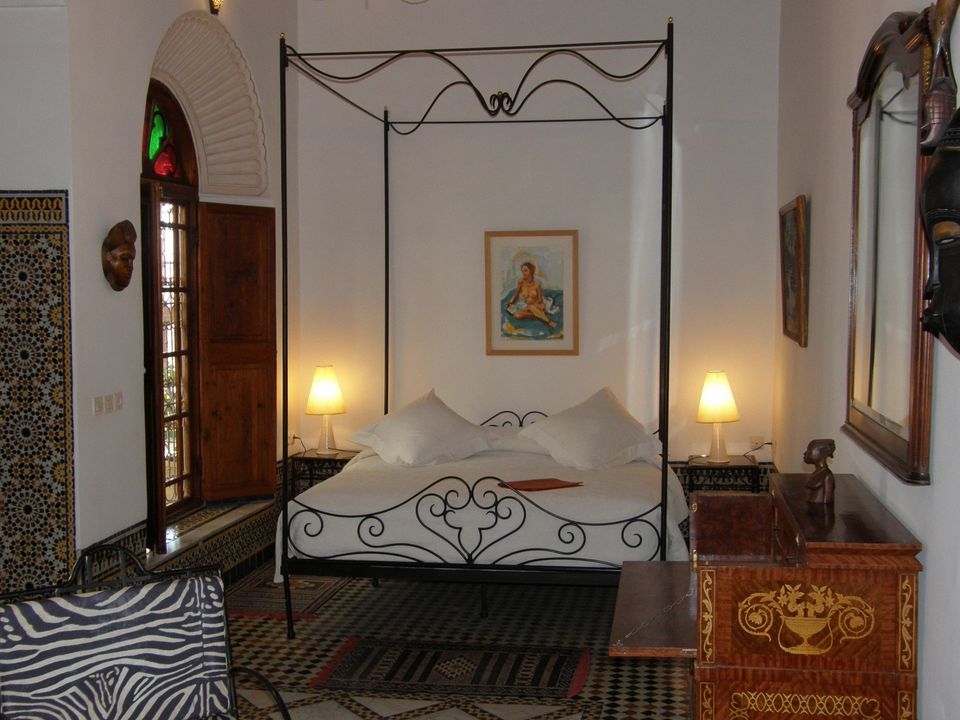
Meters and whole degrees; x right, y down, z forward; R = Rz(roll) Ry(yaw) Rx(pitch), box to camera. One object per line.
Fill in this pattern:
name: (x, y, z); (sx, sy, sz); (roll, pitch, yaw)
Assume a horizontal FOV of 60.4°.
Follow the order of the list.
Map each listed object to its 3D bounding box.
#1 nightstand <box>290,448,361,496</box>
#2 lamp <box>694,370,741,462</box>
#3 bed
nightstand: (-1.183, 0.779, 6.189); (0.414, 0.485, 0.345); (2, 9, 13)
lamp: (1.681, 0.379, 5.808); (0.275, 0.593, 0.396); (1, 6, 17)
bed: (-0.176, -0.418, 5.242); (2.739, 3.636, 2.454); (1, 6, 14)
